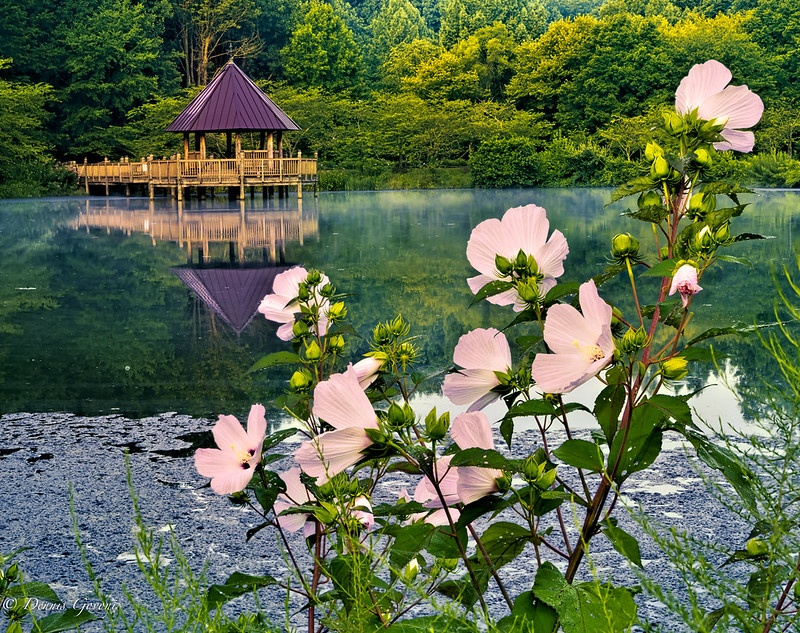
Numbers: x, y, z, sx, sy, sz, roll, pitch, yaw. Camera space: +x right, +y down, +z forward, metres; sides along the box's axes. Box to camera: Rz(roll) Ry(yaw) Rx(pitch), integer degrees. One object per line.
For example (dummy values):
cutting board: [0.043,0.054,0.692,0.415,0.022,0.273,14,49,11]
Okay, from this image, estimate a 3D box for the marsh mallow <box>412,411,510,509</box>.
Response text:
marsh mallow: [0.225,0.640,5.797,0.250,0.479,0.445,-10,16,-40]

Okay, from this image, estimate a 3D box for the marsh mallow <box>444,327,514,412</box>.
marsh mallow: [0.339,0.228,5.786,0.301,0.343,0.142,0,11,3]

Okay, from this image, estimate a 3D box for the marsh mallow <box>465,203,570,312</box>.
marsh mallow: [0.562,-0.275,5.940,0.447,0.196,0.459,4,-29,21]
